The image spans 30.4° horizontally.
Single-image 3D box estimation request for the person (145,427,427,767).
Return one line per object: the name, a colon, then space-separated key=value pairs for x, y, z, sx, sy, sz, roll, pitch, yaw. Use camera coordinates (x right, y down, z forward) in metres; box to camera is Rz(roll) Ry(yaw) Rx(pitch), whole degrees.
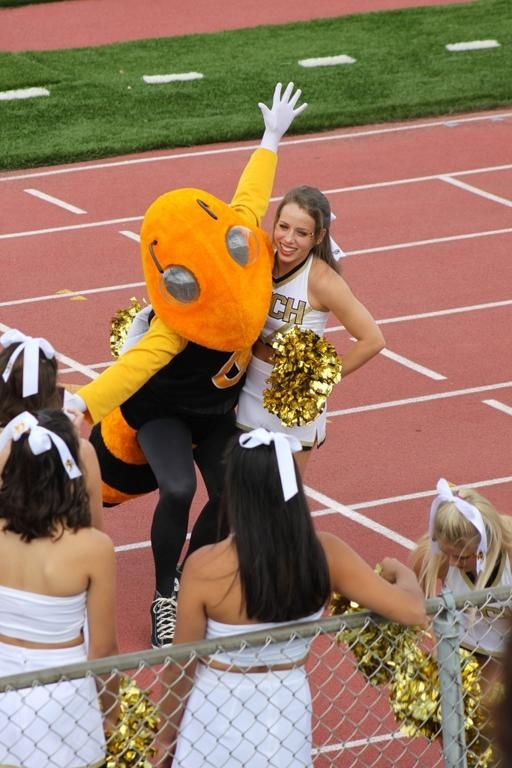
person: x=0.080 y=0.625 z=2.434 sx=0.737 sy=1.024 sz=0.383 roll=-4 pitch=18 yaw=-5
